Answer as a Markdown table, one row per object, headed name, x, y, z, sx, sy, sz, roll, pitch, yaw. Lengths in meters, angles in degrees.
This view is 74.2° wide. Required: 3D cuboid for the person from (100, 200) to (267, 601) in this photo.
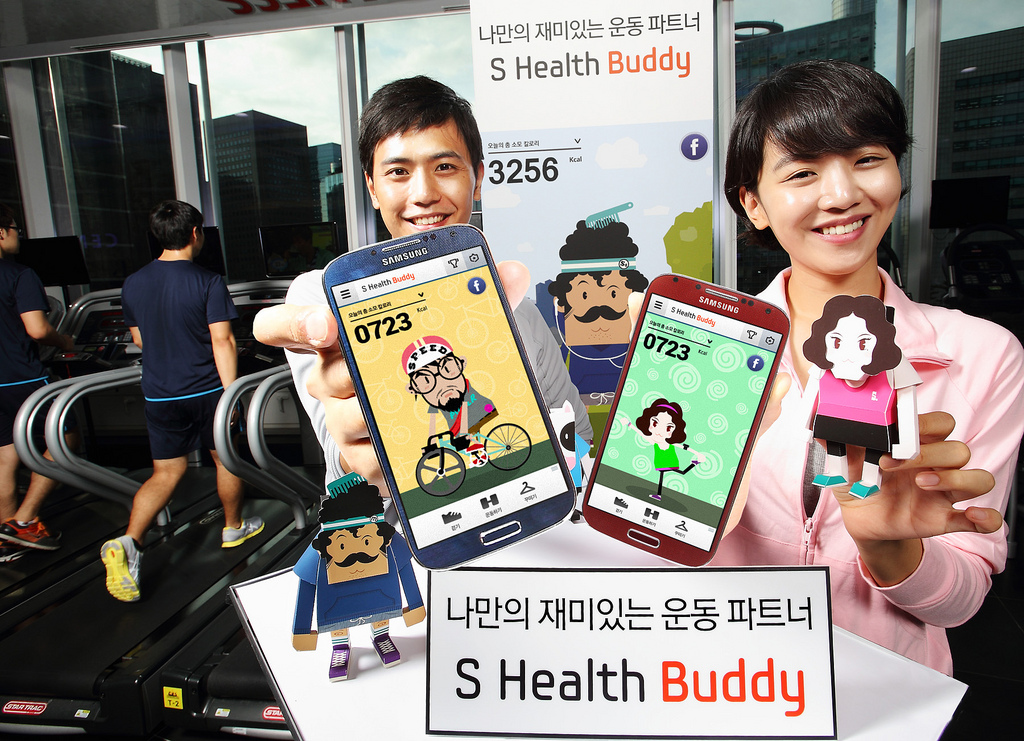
| name | x | y | z | sx | sy | sz | roll | pitch | yaw |
| --- | --- | --- | --- | --- | --- | --- | --- | --- | --- |
| person | -1.602 | 0.090 | 3.255 | 0.607 | 1.683 | 0.712 | 1 | 13 | -11 |
